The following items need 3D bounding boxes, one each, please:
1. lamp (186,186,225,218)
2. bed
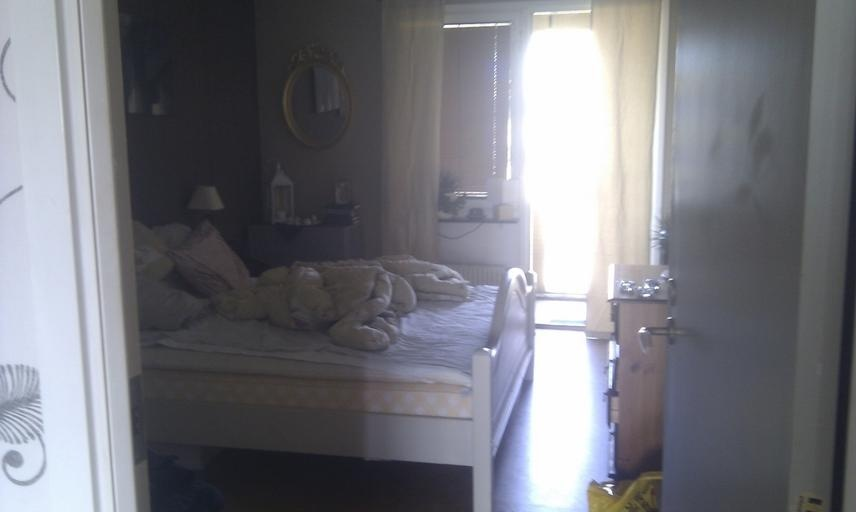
[{"bbox_3d":[-1.441,-0.338,4.388,0.209,0.177,0.190,11,16,36],"label":"lamp"},{"bbox_3d":[-0.376,0.537,2.997,1.164,0.451,1.103,0,5,7],"label":"bed"}]
